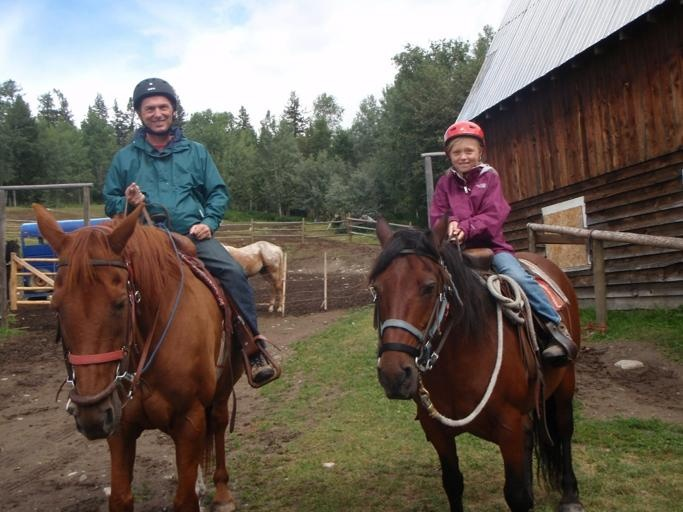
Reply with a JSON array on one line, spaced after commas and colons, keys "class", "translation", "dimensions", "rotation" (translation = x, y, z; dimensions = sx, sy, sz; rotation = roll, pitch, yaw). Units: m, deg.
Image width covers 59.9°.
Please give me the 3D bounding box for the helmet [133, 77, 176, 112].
[{"class": "helmet", "translation": [-1.928, -1.648, 6.113], "dimensions": [0.423, 0.325, 0.293], "rotation": [-1, 3, -19]}]
